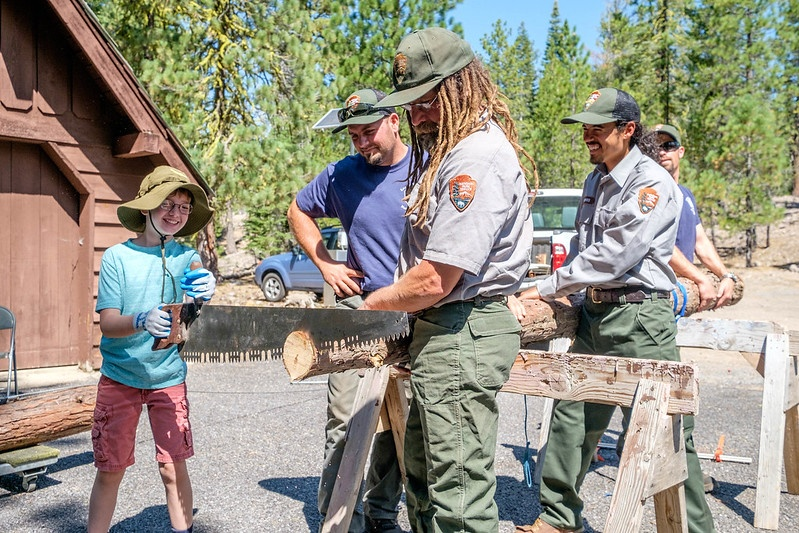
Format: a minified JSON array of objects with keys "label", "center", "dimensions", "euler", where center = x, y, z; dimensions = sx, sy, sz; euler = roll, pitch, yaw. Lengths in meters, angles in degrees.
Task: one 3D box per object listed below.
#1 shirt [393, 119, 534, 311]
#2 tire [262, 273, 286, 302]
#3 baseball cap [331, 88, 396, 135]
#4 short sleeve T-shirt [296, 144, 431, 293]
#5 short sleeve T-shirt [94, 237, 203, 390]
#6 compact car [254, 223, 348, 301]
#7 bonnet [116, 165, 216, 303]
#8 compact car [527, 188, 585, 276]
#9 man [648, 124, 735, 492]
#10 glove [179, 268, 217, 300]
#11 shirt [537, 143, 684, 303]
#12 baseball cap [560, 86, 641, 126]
[{"label":"shirt","center":[0.611,-0.397,6.527],"dimensions":[0.981,1.542,1.804],"euler":[-2,-5,1]},{"label":"tire","center":[-3.293,0.536,20.567],"dimensions":[0.672,0.715,0.243],"euler":[3,7,44]},{"label":"baseball cap","center":[-0.333,-1.397,7.016],"dimensions":[0.316,0.258,0.484],"euler":[-4,16,38]},{"label":"short sleeve T-shirt","center":[-0.269,-0.425,7.364],"dimensions":[1.585,1.344,0.551],"euler":[8,27,-4]},{"label":"short sleeve T-shirt","center":[-2.277,0.151,7.279],"dimensions":[1.046,0.807,1.393],"euler":[-5,-30,-18]},{"label":"compact car","center":[-2.512,-0.017,20.089],"dimensions":[2.924,1.692,1.759],"euler":[7,5,25]},{"label":"bonnet","center":[-2.019,-0.476,6.992],"dimensions":[0.722,0.722,0.388],"euler":[43,13,-36]},{"label":"compact car","center":[2.889,-0.689,14.013],"dimensions":[1.154,1.146,2.294],"euler":[0,2,9]},{"label":"man","center":[3.246,0.383,8.628],"dimensions":[1.133,3.772,1.143],"euler":[0,-4,7]},{"label":"glove","center":[-1.747,0.157,6.709],"dimensions":[0.281,0.272,0.208],"euler":[-2,0,-17]},{"label":"shirt","center":[2.053,-0.365,7.325],"dimensions":[1.121,1.444,1.154],"euler":[6,9,18]},{"label":"baseball cap","center":[1.957,-1.490,7.265],"dimensions":[0.526,0.275,0.342],"euler":[3,10,-2]}]
